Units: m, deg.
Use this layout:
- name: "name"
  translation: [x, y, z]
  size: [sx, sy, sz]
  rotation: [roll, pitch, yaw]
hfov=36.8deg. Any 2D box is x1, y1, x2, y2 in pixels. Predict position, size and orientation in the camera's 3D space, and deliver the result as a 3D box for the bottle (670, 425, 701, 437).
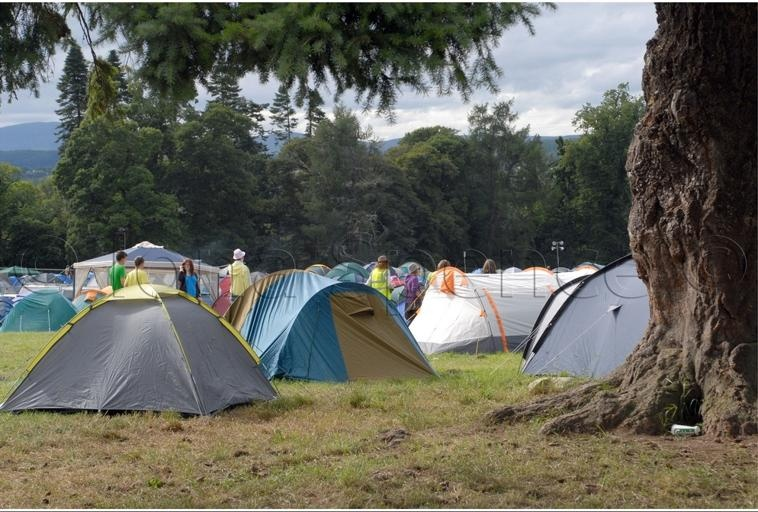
- name: "bottle"
  translation: [4.853, 2.763, 18.101]
  size: [0.311, 0.146, 0.199]
  rotation: [1, -3, 12]
